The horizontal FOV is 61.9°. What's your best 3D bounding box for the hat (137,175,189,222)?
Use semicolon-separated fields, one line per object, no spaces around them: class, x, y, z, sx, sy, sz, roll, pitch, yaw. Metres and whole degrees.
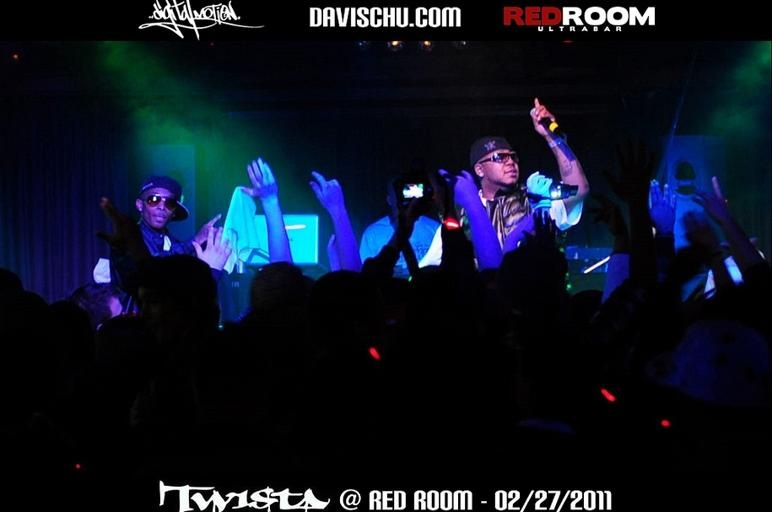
hat;-2.068;-0.545;6.051;0.422;0.520;0.283;-1;45;-8

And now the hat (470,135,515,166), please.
hat;0.979;-1.026;6.042;0.334;0.225;0.266;-31;20;1
